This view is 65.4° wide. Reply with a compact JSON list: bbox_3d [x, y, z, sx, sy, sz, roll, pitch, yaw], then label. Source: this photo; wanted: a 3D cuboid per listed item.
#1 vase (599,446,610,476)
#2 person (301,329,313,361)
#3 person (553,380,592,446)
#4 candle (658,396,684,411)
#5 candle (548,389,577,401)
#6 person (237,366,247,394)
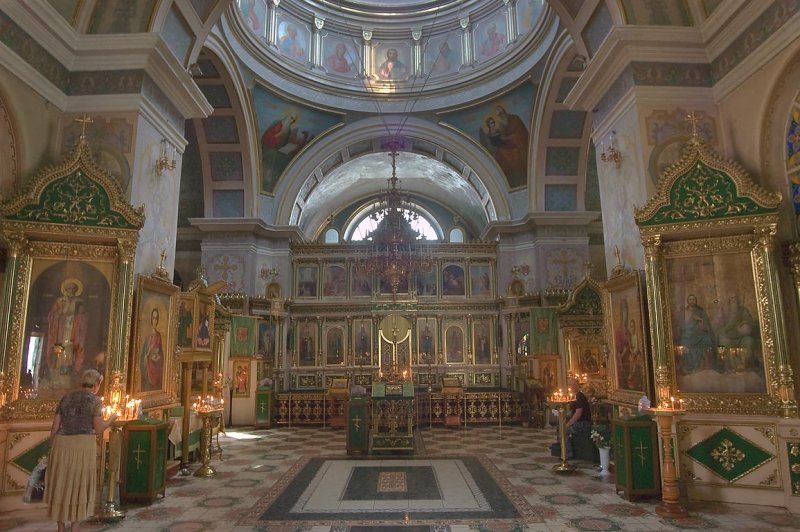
[{"bbox_3d":[3.716,3.530,11.305,0.150,0.493,0.284,0,1,12],"label":"vase"},{"bbox_3d":[-3.039,2.696,20.525,0.433,1.017,0.301,0,1,-9],"label":"person"},{"bbox_3d":[3.612,2.895,12.616,0.488,1.189,0.604,1,1,16],"label":"person"},{"bbox_3d":[4.277,2.167,9.810,0.313,0.079,0.330,-1,-2,-15],"label":"candle"},{"bbox_3d":[2.944,2.344,11.375,0.483,0.259,0.355,0,1,-4],"label":"candle"},{"bbox_3d":[-4.209,3.020,16.680,0.402,0.895,0.197,0,1,-8],"label":"person"}]
